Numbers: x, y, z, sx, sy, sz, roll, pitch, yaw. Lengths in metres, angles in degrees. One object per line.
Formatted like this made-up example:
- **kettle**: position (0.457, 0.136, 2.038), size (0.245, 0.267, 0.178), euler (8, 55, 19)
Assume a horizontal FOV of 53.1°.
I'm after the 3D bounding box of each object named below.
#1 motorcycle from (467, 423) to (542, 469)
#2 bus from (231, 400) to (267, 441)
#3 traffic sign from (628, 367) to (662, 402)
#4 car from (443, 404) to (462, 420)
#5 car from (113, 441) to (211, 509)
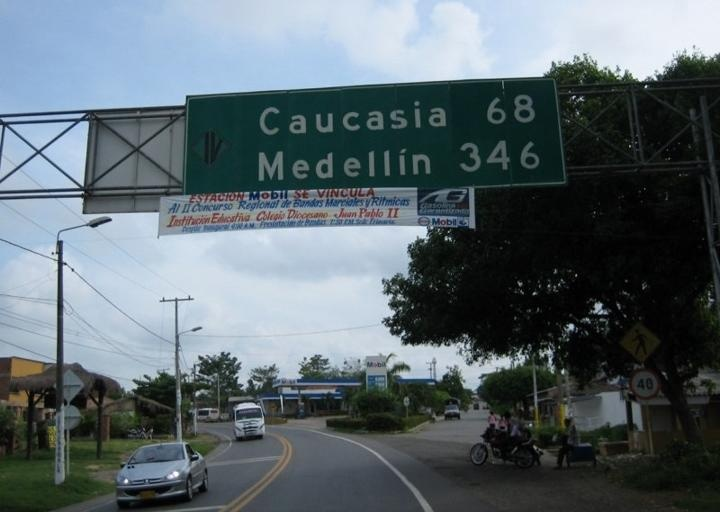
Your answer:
- **motorcycle**: position (6.051, 7.852, 29.730), size (2.848, 1.756, 1.542), euler (-8, -32, 31)
- **bus**: position (-8.484, 12.591, 54.622), size (2.081, 2.891, 3.114), euler (1, -16, -15)
- **traffic sign**: position (8.929, 3.989, 22.625), size (0.772, 0.946, 1.034), euler (-9, -17, 20)
- **car**: position (11.117, 18.826, 87.103), size (1.518, 1.555, 3.039), euler (-3, -20, 5)
- **car**: position (-6.497, 7.049, 23.383), size (2.647, 2.015, 2.221), euler (2, -17, -17)
